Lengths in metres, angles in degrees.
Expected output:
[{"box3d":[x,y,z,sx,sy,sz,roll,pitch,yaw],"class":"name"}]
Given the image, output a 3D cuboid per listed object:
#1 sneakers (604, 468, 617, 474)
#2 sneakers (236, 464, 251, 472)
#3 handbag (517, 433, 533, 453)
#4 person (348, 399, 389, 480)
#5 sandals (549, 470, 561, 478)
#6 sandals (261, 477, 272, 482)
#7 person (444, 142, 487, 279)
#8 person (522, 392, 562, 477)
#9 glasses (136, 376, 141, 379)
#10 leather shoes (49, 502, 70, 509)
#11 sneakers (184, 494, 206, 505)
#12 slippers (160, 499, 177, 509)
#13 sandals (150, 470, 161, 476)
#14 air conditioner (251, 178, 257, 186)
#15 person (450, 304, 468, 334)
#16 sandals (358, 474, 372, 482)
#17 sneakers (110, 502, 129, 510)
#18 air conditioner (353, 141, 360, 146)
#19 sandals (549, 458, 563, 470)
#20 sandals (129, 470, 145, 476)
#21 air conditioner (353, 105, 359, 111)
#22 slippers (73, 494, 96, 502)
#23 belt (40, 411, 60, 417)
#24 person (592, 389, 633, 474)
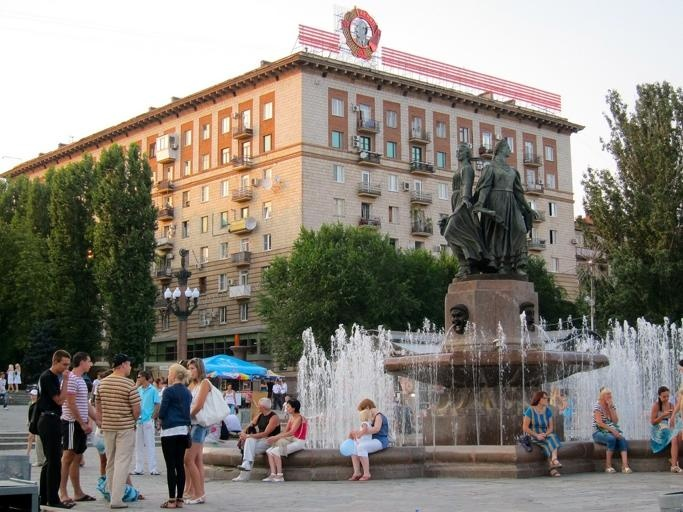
[{"box3d":[6.492,5.172,27.759,0.244,0.166,0.271,-2,-13,4],"class":"sneakers"},{"box3d":[-2.327,4.937,27.076,0.230,0.127,0.317,-25,26,-39],"class":"sneakers"},{"box3d":[4.344,4.405,27.286,0.172,0.240,0.584,-1,25,-11],"class":"handbag"},{"box3d":[0.640,4.340,27.268,0.976,1.888,0.719,2,-18,-12],"class":"person"},{"box3d":[5.058,5.130,27.226,0.275,0.173,0.207,0,-13,-7],"class":"sandals"},{"box3d":[-1.764,5.229,26.918,0.230,0.103,0.095,5,-15,2],"class":"sandals"},{"box3d":[3.186,-1.261,30.062,0.980,3.651,0.599,-2,-12,5],"class":"person"},{"box3d":[4.774,4.223,27.429,0.945,2.043,0.464,1,-12,-10],"class":"person"},{"box3d":[-4.973,2.958,28.056,0.070,0.056,0.064,6,-56,-40],"class":"glasses"},{"box3d":[-5.954,5.279,24.281,0.403,0.130,0.152,14,-19,5],"class":"leather shoes"},{"box3d":[-3.175,5.245,24.731,0.340,0.154,0.177,4,-10,2],"class":"sneakers"},{"box3d":[-3.696,5.258,24.412,0.387,0.199,0.191,-11,-16,37],"class":"slippers"},{"box3d":[-4.639,5.404,28.595,0.090,0.107,0.267,5,-16,-36],"class":"sandals"},{"box3d":[-5.433,-4.612,70.875,0.220,0.412,0.425,7,-12,-41],"class":"air conditioner"},{"box3d":[2.997,1.586,29.299,0.323,0.792,0.561,15,-19,-34],"class":"person"},{"box3d":[0.547,5.185,26.907,0.288,0.128,0.160,1,-13,-10],"class":"sandals"},{"box3d":[-4.715,5.270,24.323,0.289,0.133,0.149,2,-2,-28],"class":"sneakers"},{"box3d":[0.892,-6.920,70.671,0.468,0.426,0.246,7,-11,-44],"class":"air conditioner"},{"box3d":[5.041,4.924,27.217,0.134,0.172,0.402,3,-19,-21],"class":"sandals"},{"box3d":[-5.111,5.405,28.630,0.371,0.168,0.127,6,-10,1],"class":"sandals"},{"box3d":[0.833,-9.101,70.683,0.409,0.418,0.287,1,-4,-5],"class":"air conditioner"},{"box3d":[-5.631,5.286,25.241,0.438,0.149,0.162,-1,-2,-15],"class":"slippers"},{"box3d":[-6.226,3.355,24.496,0.418,0.115,0.120,0,-13,-3],"class":"belt"},{"box3d":[6.530,4.246,28.063,0.810,2.054,0.453,-3,-12,10],"class":"person"}]
